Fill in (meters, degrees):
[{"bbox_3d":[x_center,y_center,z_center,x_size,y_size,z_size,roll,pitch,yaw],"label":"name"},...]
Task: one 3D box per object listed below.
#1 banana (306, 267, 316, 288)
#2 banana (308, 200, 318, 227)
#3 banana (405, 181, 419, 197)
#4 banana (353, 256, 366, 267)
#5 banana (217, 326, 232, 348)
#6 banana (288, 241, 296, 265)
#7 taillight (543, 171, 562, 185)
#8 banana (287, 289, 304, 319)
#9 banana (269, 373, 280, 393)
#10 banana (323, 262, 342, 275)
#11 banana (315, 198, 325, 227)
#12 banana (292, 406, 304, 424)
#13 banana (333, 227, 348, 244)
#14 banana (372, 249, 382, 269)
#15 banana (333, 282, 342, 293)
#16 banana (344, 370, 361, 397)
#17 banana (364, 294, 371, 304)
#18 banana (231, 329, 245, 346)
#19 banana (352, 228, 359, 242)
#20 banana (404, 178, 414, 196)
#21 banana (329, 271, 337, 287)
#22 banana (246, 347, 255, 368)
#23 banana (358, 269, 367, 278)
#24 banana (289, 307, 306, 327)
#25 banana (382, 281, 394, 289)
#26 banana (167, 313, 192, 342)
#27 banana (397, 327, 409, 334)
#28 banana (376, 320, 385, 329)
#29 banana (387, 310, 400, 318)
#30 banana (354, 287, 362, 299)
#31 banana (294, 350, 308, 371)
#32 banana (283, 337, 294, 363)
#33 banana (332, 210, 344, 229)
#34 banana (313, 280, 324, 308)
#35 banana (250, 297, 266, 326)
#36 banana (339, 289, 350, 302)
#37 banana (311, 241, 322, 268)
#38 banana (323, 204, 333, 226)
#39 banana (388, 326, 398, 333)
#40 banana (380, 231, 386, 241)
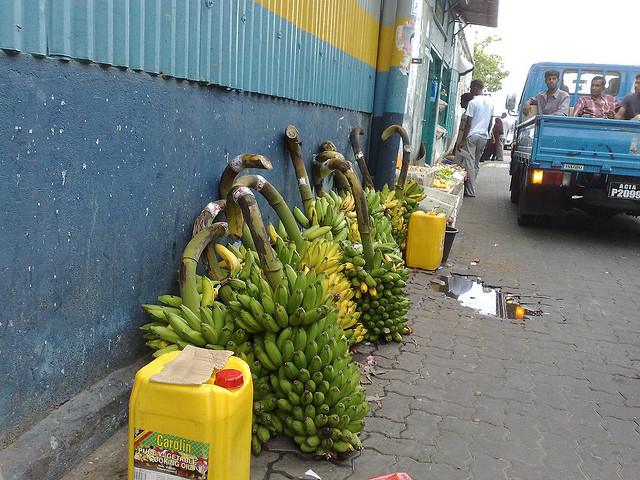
[{"bbox_3d":[-0.064,0.259,3.059,0.035,0.145,0.048,8,-20,1],"label":"banana"},{"bbox_3d":[-0.070,-0.276,4.543,0.065,0.274,0.084,-4,-3,28],"label":"banana"},{"bbox_3d":[1.419,-0.786,6.807,0.060,0.278,0.095,27,-4,-4],"label":"banana"},{"bbox_3d":[0.373,0.195,4.152,0.098,0.078,0.059,27,5,-5],"label":"banana"},{"bbox_3d":[-0.615,0.625,2.832,0.049,0.170,0.075,14,32,0],"label":"banana"},{"bbox_3d":[-0.227,0.099,3.633,0.044,0.189,0.056,17,-21,-31],"label":"banana"},{"bbox_3d":[4.242,-1.138,8.021,0.291,0.230,0.042,11,18,23],"label":"taillight"},{"bbox_3d":[-0.167,0.408,2.959,0.064,0.252,0.085,29,26,11],"label":"banana"},{"bbox_3d":[-0.295,0.921,2.853,0.048,0.111,0.111,-3,18,-20],"label":"banana"},{"bbox_3d":[0.118,0.242,3.935,0.202,0.057,0.072,-21,33,-38],"label":"banana"},{"bbox_3d":[-0.001,-0.296,4.562,0.065,0.290,0.096,-12,-17,21],"label":"banana"},{"bbox_3d":[-0.136,1.092,2.762,0.057,0.107,0.038,-24,20,-3],"label":"banana"},{"bbox_3d":[0.204,-0.037,4.424,0.081,0.118,0.392,8,18,15],"label":"banana"},{"bbox_3d":[0.557,0.189,4.269,0.053,0.220,0.069,12,-17,-2],"label":"banana"},{"bbox_3d":[0.147,0.415,3.857,0.062,0.092,0.248,22,2,7],"label":"banana"},{"bbox_3d":[0.225,0.947,2.928,0.034,0.160,0.275,8,18,19],"label":"banana"},{"bbox_3d":[0.461,0.564,4.220,0.026,0.123,0.032,21,4,-31],"label":"banana"},{"bbox_3d":[-0.532,0.627,2.861,0.054,0.114,0.038,30,32,-7],"label":"banana"},{"bbox_3d":[0.374,-0.046,4.728,0.060,0.178,0.040,27,-48,-38],"label":"banana"},{"bbox_3d":[1.402,-0.863,6.881,0.087,0.106,0.407,23,41,-1],"label":"banana"},{"bbox_3d":[0.119,0.344,3.921,0.040,0.129,0.032,12,3,-45],"label":"banana"},{"bbox_3d":[-0.450,0.763,2.876,0.032,0.143,0.047,8,2,-9],"label":"banana"},{"bbox_3d":[0.400,0.315,4.127,0.074,0.062,0.063,14,-30,20],"label":"banana"},{"bbox_3d":[-0.160,0.514,2.902,0.055,0.192,0.068,45,53,10],"label":"banana"},{"bbox_3d":[0.659,0.431,4.228,0.105,0.076,0.038,5,16,4],"label":"banana"},{"bbox_3d":[-0.895,0.561,2.819,0.048,0.184,0.065,-36,-3,8],"label":"banana"},{"bbox_3d":[0.827,0.903,4.344,0.135,0.082,0.036,-11,21,-39],"label":"banana"},{"bbox_3d":[0.576,0.802,4.194,0.056,0.050,0.081,5,-21,3],"label":"banana"},{"bbox_3d":[0.710,0.703,4.208,0.051,0.045,0.160,-27,-17,-13],"label":"banana"},{"bbox_3d":[0.365,0.494,4.152,0.055,0.110,0.034,1,-31,-11],"label":"banana"},{"bbox_3d":[-0.120,0.754,2.796,0.087,0.164,0.057,-1,18,4],"label":"banana"},{"bbox_3d":[-0.201,0.713,2.820,0.070,0.146,0.058,1,16,-5],"label":"banana"},{"bbox_3d":[0.199,-0.206,4.609,0.057,0.084,0.239,22,51,6],"label":"banana"},{"bbox_3d":[-0.007,0.356,3.007,0.049,0.193,0.061,-17,27,-39],"label":"banana"},{"bbox_3d":[-0.407,0.450,2.850,0.068,0.207,0.055,-22,2,-43],"label":"banana"},{"bbox_3d":[0.213,0.498,3.947,0.040,0.083,0.238,9,18,19],"label":"banana"},{"bbox_3d":[-0.030,0.117,3.716,0.053,0.220,0.073,4,0,-5],"label":"banana"},{"bbox_3d":[0.085,-0.250,4.492,0.055,0.234,0.074,7,3,15],"label":"banana"},{"bbox_3d":[0.711,0.857,4.234,0.107,0.071,0.028,-5,18,-26],"label":"banana"},{"bbox_3d":[0.721,-0.048,5.028,0.058,0.103,0.021,6,-14,-22],"label":"banana"}]
